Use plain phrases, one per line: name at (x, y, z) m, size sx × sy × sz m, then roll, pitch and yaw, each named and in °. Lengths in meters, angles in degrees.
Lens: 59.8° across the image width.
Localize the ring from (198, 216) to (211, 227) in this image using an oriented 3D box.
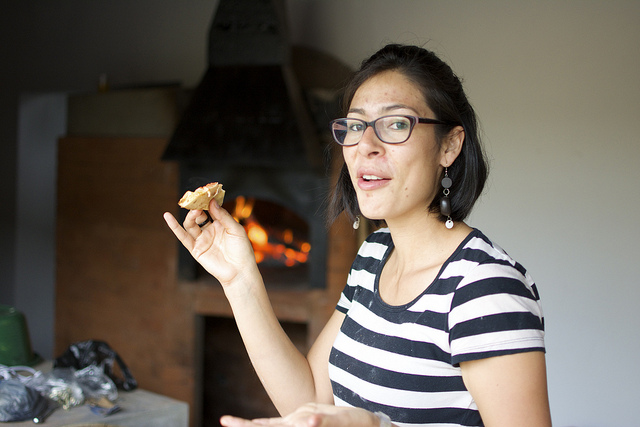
ring at (-0.442, 0.035, 2.166) m, size 0.038 × 0.041 × 0.102 m, roll 4°, pitch -5°, yaw 4°

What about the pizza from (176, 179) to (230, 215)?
pizza at (-0.445, -0.048, 2.161) m, size 0.174 × 0.048 × 0.165 m, roll 13°, pitch -24°, yaw 17°

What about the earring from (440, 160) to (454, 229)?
earring at (0.455, -0.069, 1.989) m, size 0.053 × 0.243 × 0.065 m, roll 4°, pitch -4°, yaw -1°
